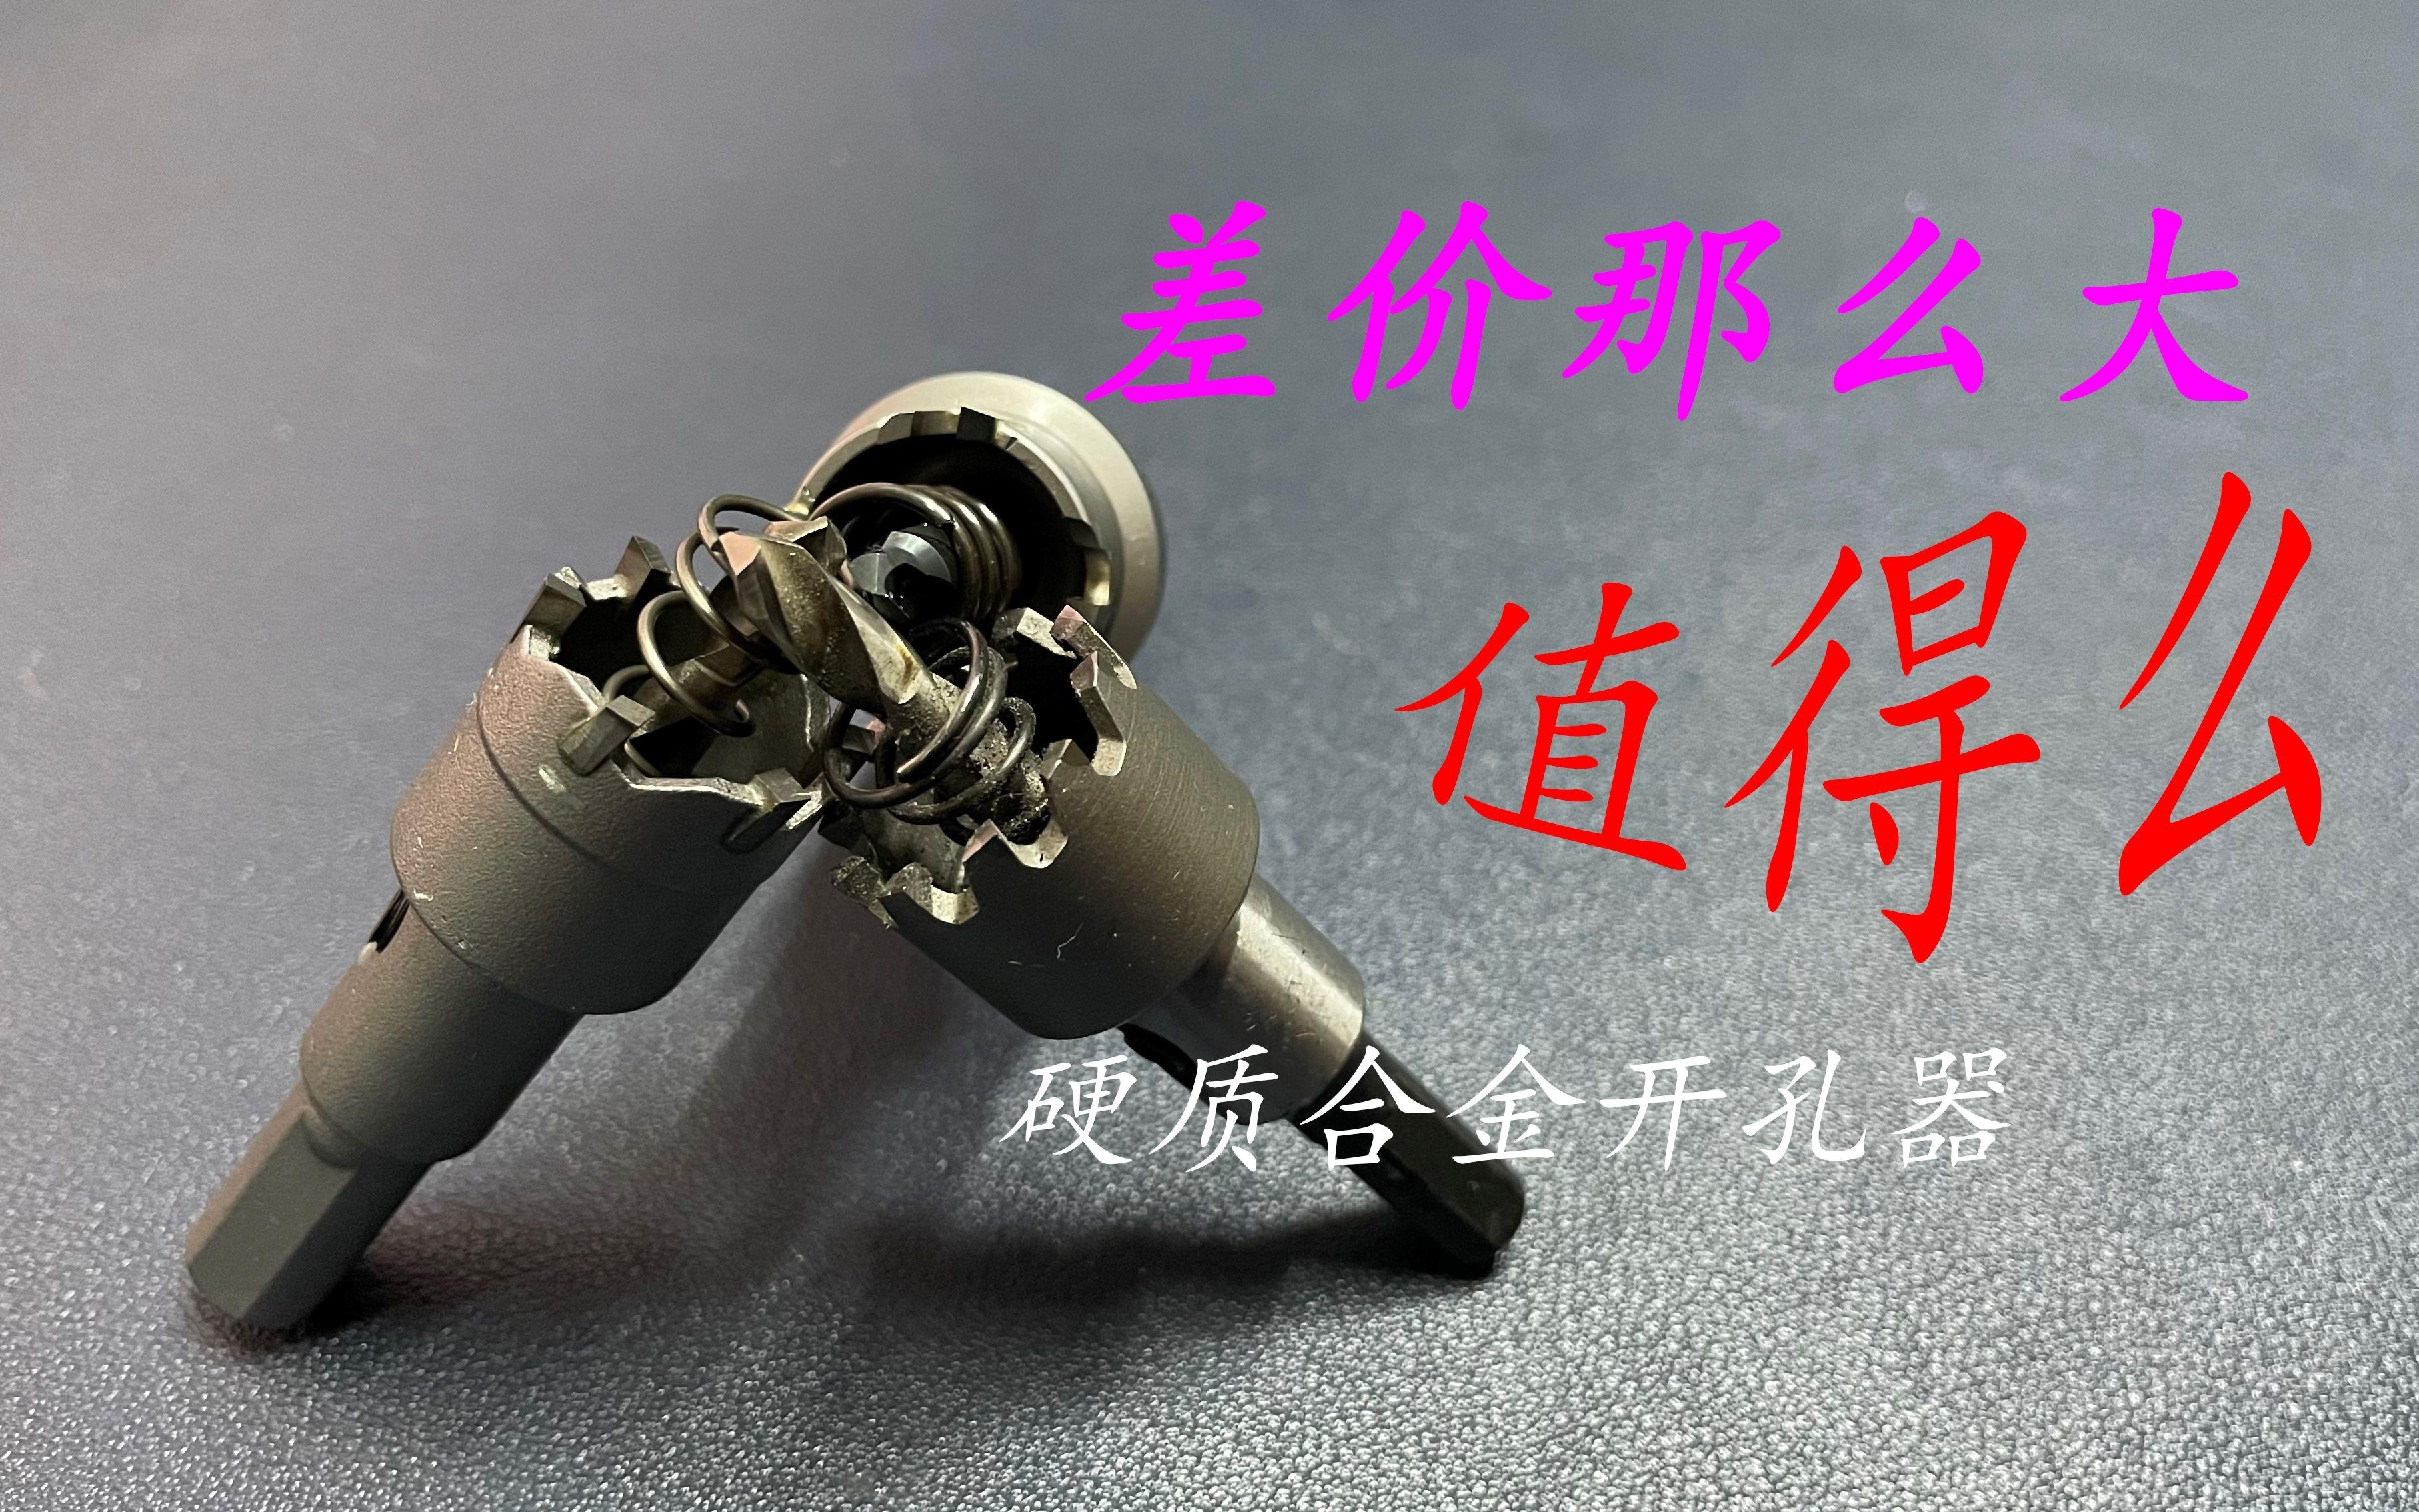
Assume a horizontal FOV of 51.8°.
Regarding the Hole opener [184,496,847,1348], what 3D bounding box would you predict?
[{"bbox_3d":[-0.573,0.178,1.870,0.248,0.756,0.275,44,26,11],"label":"Hole opener"}]
